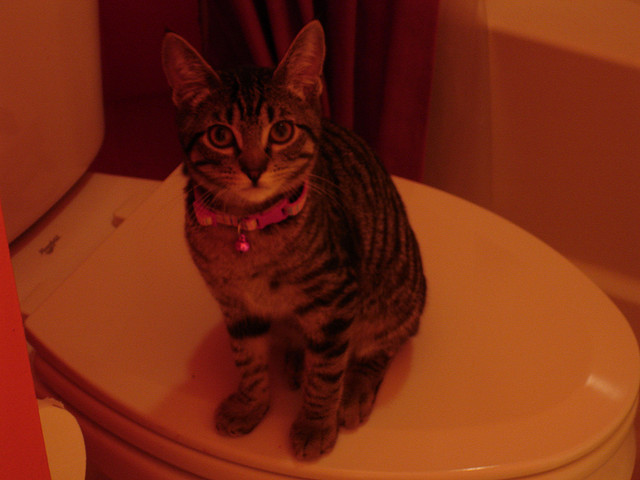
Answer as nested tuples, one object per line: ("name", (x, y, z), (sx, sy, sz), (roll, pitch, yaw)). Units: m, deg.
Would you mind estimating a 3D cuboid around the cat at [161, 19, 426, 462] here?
("cat", (-0.017, -0.019, 0.999), (0.366, 0.664, 0.436), (3, 18, 16))
